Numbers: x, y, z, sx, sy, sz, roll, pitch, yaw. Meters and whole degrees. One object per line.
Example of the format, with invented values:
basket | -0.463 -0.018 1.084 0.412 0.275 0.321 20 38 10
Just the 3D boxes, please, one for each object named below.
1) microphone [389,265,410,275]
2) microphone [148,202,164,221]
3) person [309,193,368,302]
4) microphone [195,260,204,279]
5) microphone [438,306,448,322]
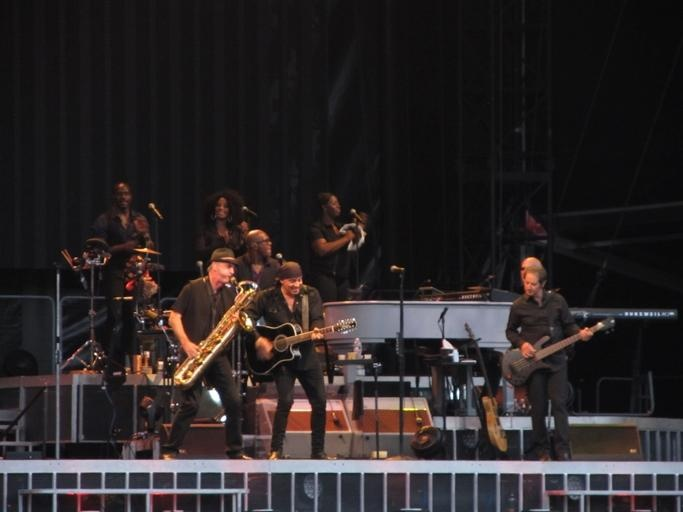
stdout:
microphone | 0.738 0.189 19.406 0.116 0.113 0.386 -19 5 -14
microphone | -3.107 -0.737 23.463 0.130 0.130 0.460 -17 41 -18
person | -0.142 -0.071 23.202 0.698 1.993 0.635 5 7 44
microphone | -2.228 0.188 22.041 0.097 0.325 0.096 -1 14 12
microphone | 1.454 0.802 20.291 0.141 0.199 0.237 -2 -10 4
